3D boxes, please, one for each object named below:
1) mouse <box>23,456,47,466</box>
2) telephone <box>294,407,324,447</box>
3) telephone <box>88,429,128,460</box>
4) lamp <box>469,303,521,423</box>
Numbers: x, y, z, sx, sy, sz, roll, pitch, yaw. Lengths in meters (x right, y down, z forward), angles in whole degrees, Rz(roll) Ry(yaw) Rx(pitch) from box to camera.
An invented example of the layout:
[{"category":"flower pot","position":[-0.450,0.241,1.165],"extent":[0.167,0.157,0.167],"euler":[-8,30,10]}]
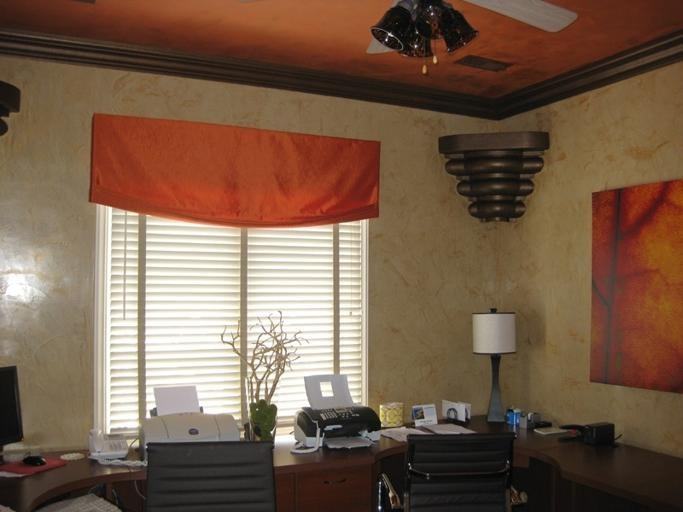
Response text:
[{"category":"mouse","position":[-1.998,1.324,4.836],"extent":[0.100,0.033,0.070],"euler":[1,4,-12]},{"category":"telephone","position":[-0.239,1.266,5.313],"extent":[0.228,0.213,0.173],"euler":[-4,-15,45]},{"category":"telephone","position":[-1.578,1.264,5.035],"extent":[0.261,0.182,0.158],"euler":[1,-3,-19]},{"category":"lamp","position":[1.240,0.866,5.995],"extent":[0.366,0.906,0.445],"euler":[-3,-6,13]}]
